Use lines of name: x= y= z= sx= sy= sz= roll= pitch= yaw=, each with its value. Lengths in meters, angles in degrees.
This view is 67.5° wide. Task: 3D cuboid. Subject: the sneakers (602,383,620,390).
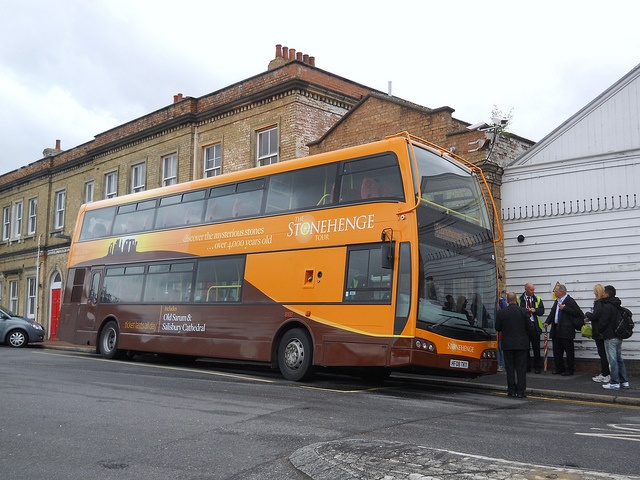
sneakers: x=6.593 y=3.340 z=10.886 sx=0.349 sy=0.177 sz=0.132 roll=0 pitch=-3 yaw=30

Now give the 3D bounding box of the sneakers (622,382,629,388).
sneakers: x=6.943 y=3.331 z=10.901 sx=0.299 sy=0.140 sz=0.103 roll=11 pitch=-16 yaw=-40

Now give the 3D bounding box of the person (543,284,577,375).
person: x=6.758 y=2.507 z=13.312 sx=0.493 sy=2.481 sz=0.962 roll=6 pitch=-13 yaw=-29

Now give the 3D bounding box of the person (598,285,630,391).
person: x=6.759 y=2.247 z=11.054 sx=0.711 sy=2.332 sz=0.522 roll=-4 pitch=-12 yaw=18

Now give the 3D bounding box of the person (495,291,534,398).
person: x=4.282 y=2.433 z=10.565 sx=0.727 sy=2.036 sz=0.350 roll=-5 pitch=-13 yaw=24

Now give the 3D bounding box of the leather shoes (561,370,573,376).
leather shoes: x=6.771 y=3.677 z=13.120 sx=0.267 sy=0.113 sz=0.319 roll=-7 pitch=-15 yaw=26
